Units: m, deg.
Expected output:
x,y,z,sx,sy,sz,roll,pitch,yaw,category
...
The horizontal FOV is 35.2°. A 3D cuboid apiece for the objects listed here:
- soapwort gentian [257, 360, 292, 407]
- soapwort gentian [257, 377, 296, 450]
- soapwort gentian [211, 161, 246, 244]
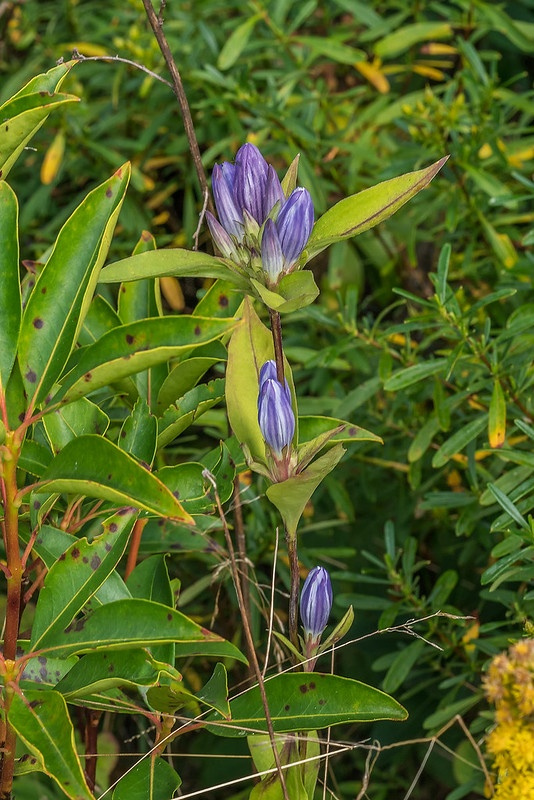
x,y,z,sx,sy,sz,roll,pitch,yaw,category
0.003,-0.010,0.562,0.011,0.028,0.019,-5,23,40,soapwort gentian
0.007,0.013,0.562,0.024,0.066,0.022,-11,34,-1,soapwort gentian
-0.023,-0.133,0.591,0.018,0.062,0.017,-24,22,-37,soapwort gentian
